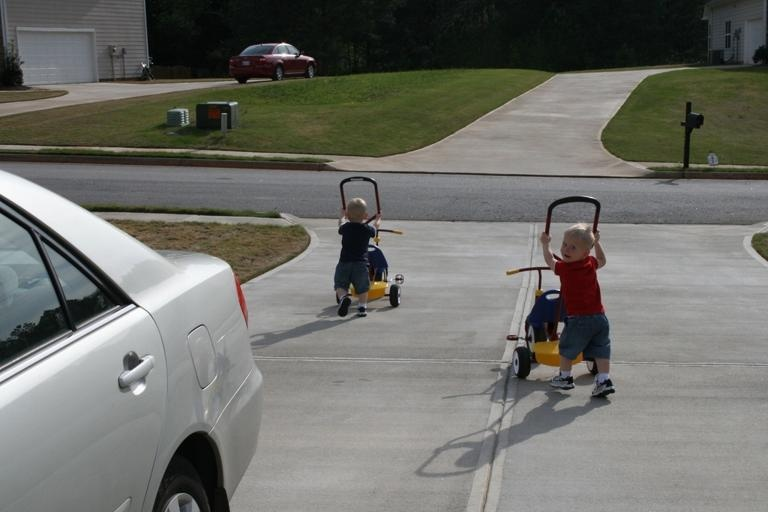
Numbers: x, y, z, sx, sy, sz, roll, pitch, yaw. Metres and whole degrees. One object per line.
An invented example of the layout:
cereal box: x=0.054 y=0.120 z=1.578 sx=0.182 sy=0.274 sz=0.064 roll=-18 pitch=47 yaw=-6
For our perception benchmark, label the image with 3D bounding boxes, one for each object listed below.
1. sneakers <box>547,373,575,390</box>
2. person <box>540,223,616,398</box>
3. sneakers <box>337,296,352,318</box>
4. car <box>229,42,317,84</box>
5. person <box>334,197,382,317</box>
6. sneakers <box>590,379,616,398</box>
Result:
sneakers: x=1.645 y=1.172 z=9.492 sx=0.236 sy=0.119 sz=0.112 roll=5 pitch=8 yaw=18
person: x=1.783 y=0.493 z=9.354 sx=0.706 sy=1.555 sz=0.522 roll=2 pitch=19 yaw=10
sneakers: x=-0.448 y=0.537 z=10.966 sx=0.108 sy=0.255 sz=0.104 roll=13 pitch=-2 yaw=-27
car: x=-3.929 y=-7.142 z=37.138 sx=1.425 sy=1.074 sz=3.425 roll=4 pitch=14 yaw=32
person: x=-0.361 y=0.043 z=11.247 sx=0.459 sy=1.304 sz=0.993 roll=-1 pitch=18 yaw=1
sneakers: x=2.004 y=1.211 z=9.345 sx=0.208 sy=0.198 sz=0.132 roll=3 pitch=19 yaw=11
